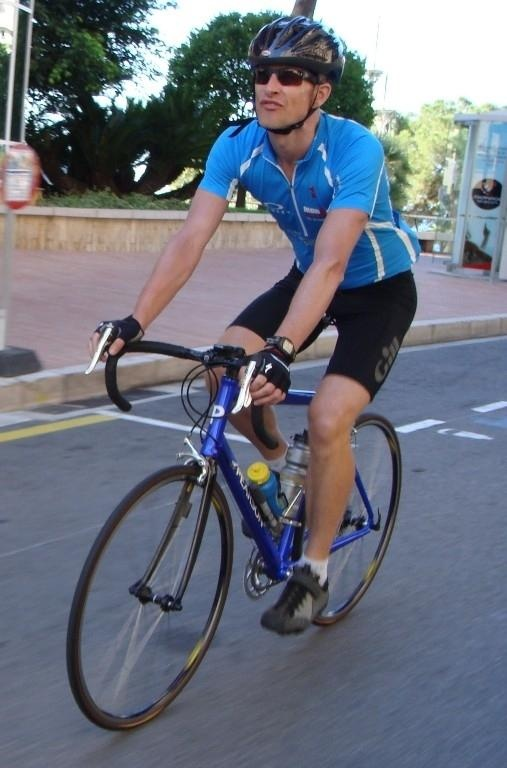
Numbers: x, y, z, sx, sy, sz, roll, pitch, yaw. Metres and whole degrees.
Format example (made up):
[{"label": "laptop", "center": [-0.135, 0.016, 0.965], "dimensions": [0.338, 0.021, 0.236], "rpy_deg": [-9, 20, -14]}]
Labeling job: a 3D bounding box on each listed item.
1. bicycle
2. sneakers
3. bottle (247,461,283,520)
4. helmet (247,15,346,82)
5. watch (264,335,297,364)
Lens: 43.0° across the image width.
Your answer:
[{"label": "bicycle", "center": [0.030, 0.373, 1.984], "dimensions": [0.367, 1.034, 1.556], "rpy_deg": [6, 5, 31]}, {"label": "sneakers", "center": [0.143, 0.635, 1.965], "dimensions": [0.102, 0.124, 0.294], "rpy_deg": [27, 10, 16]}, {"label": "bottle", "center": [0.034, 0.333, 1.960], "dimensions": [0.080, 0.172, 0.082], "rpy_deg": [-21, 31, 13]}, {"label": "helmet", "center": [0.154, -1.019, 1.952], "dimensions": [0.194, 0.147, 0.269], "rpy_deg": [11, 1, 21]}, {"label": "watch", "center": [0.068, -0.084, 1.572], "dimensions": [0.051, 0.033, 0.053], "rpy_deg": [33, -13, 11]}]
